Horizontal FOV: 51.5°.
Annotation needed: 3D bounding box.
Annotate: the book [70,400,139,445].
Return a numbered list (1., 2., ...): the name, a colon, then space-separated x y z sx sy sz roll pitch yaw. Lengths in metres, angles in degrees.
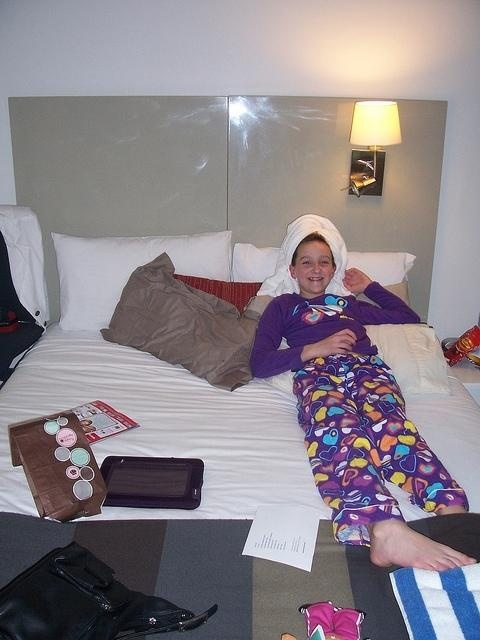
1. book: -0.418 0.311 1.526 0.138 0.015 0.129 -12 34 -42

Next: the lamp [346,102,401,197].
1. lamp: 0.623 -0.781 2.309 0.236 0.438 0.289 8 24 14

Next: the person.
1. person: 0.351 0.268 1.564 0.472 0.261 1.090 -2 38 1

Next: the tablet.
1. tablet: -0.216 0.391 1.238 0.168 0.038 0.119 -1 33 2
